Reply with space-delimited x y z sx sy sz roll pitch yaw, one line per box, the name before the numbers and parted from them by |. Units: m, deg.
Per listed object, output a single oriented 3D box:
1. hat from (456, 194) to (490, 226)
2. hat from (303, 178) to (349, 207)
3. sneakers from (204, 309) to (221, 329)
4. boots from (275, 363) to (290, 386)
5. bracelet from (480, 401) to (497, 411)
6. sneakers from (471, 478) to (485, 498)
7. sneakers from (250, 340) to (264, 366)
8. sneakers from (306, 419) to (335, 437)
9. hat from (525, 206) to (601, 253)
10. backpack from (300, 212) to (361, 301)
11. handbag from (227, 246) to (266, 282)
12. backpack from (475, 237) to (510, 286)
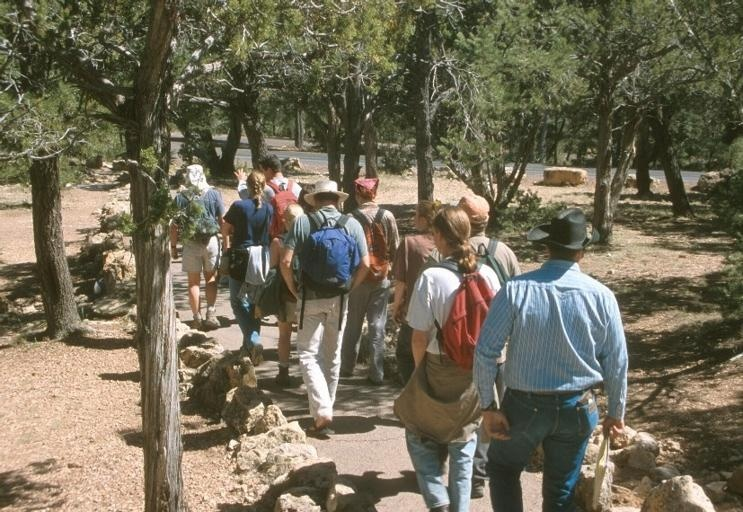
hat | 1.121 -0.520 8.630 0.252 0.203 0.362 -2 29 -14
hat | -0.491 -0.800 9.358 0.391 0.159 0.362 5 -15 -14
sneakers | -2.327 0.959 11.998 0.130 0.270 0.372 -9 -14 14
boots | -1.124 1.531 10.102 0.142 0.301 0.304 -1 14 -7
bracelet | 1.086 1.342 7.150 0.094 0.069 0.097 -1 -1 1
sneakers | 1.118 2.426 8.238 0.115 0.204 0.198 1 -8 -3
sneakers | -1.495 1.300 10.345 0.124 0.376 0.159 0 50 -9
sneakers | -0.553 1.980 9.103 0.401 0.177 0.150 8 6 38
hat | 1.853 -0.174 7.336 0.521 0.217 0.408 -19 39 -32
backpack | -0.463 -0.002 9.067 0.694 0.947 0.366 1 8 0
handbag | -1.631 0.108 10.450 0.459 0.462 0.467 2 -5 -4
backpack | 1.258 0.071 8.228 0.281 0.538 0.329 -21 13 -3
